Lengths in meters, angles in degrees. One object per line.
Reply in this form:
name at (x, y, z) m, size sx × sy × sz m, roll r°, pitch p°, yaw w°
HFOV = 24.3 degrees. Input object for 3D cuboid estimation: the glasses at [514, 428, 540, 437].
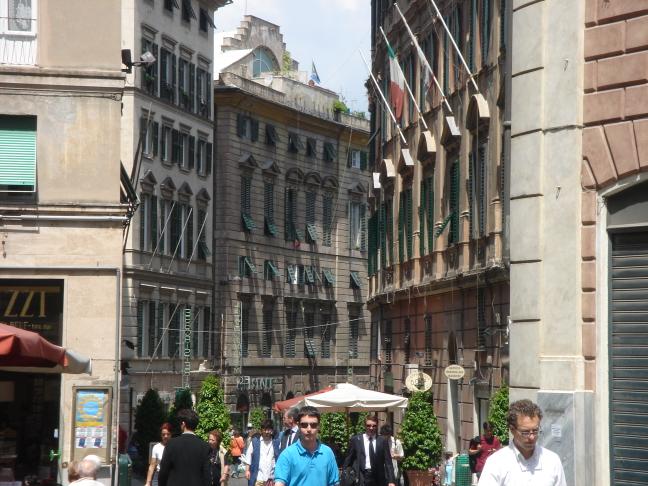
glasses at (2.834, 2.657, 20.770) m, size 0.347 × 0.126 × 0.159 m, roll 3°, pitch -18°, yaw -18°

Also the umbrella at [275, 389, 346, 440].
umbrella at (-0.664, 4.199, 36.392) m, size 1.938 × 0.916 × 2.043 m, roll -4°, pitch -18°, yaw 7°

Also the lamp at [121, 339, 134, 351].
lamp at (-7.607, 4.094, 59.423) m, size 0.243 × 0.415 × 1.010 m, roll -6°, pitch -18°, yaw 13°

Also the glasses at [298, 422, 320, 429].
glasses at (-0.212, 2.778, 22.531) m, size 0.248 × 0.107 × 0.119 m, roll -3°, pitch -17°, yaw 0°
